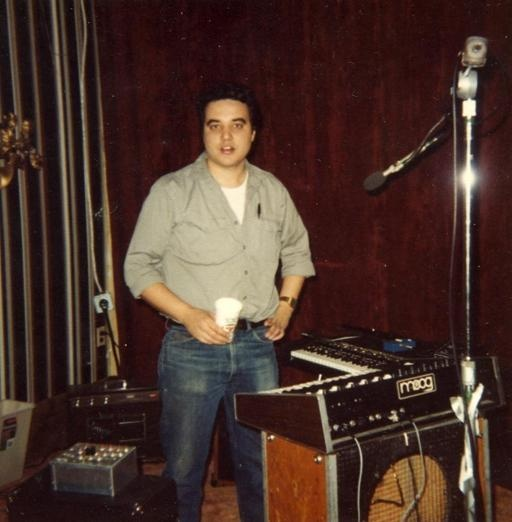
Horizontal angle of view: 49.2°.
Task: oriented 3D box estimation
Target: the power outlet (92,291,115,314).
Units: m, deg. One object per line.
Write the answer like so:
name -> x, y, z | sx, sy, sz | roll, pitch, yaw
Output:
power outlet -> -0.918, 0.248, 3.365 | 0.111, 0.119, 0.073 | 4, -7, -25

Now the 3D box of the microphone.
microphone -> 0.697, -0.469, 2.471 | 0.743, 0.205, 0.099 | -37, 39, -29

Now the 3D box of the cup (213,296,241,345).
cup -> -0.091, 0.189, 1.832 | 0.111, 0.146, 0.106 | 6, 22, -2

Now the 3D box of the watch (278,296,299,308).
watch -> 0.131, 0.174, 2.270 | 0.063, 0.038, 0.059 | 42, -20, -26

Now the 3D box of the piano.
piano -> 0.400, 0.336, 2.086 | 0.425, 0.165, 0.705 | 3, -7, -22

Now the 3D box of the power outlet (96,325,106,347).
power outlet -> -0.943, 0.464, 3.417 | 0.027, 0.127, 0.082 | -4, -8, 38

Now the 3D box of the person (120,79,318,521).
person -> -0.123, 0.180, 2.181 | 0.404, 1.718, 0.692 | -4, -8, 41
